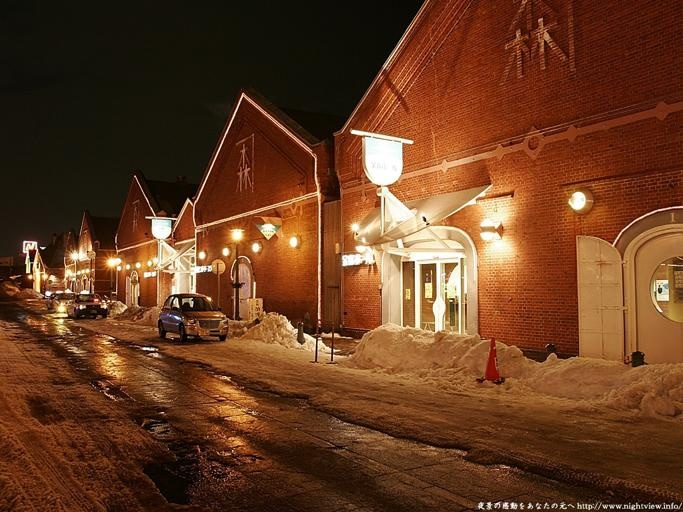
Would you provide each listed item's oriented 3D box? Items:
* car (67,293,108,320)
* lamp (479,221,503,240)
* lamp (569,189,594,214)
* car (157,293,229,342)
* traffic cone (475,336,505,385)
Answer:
[{"bbox_3d":[-18.977,3.643,38.101,2.112,1.981,2.825,7,-10,-37],"label":"car"},{"bbox_3d":[4.669,-0.828,16.118,0.471,0.616,0.811,6,-9,-36],"label":"lamp"},{"bbox_3d":[6.534,-1.521,13.920,0.211,0.642,0.636,6,-9,-37],"label":"lamp"},{"bbox_3d":[-6.492,2.577,22.042,1.765,1.426,3.375,4,-9,-28],"label":"car"},{"bbox_3d":[3.535,2.465,12.079,0.645,1.041,0.707,-1,-8,17],"label":"traffic cone"}]
